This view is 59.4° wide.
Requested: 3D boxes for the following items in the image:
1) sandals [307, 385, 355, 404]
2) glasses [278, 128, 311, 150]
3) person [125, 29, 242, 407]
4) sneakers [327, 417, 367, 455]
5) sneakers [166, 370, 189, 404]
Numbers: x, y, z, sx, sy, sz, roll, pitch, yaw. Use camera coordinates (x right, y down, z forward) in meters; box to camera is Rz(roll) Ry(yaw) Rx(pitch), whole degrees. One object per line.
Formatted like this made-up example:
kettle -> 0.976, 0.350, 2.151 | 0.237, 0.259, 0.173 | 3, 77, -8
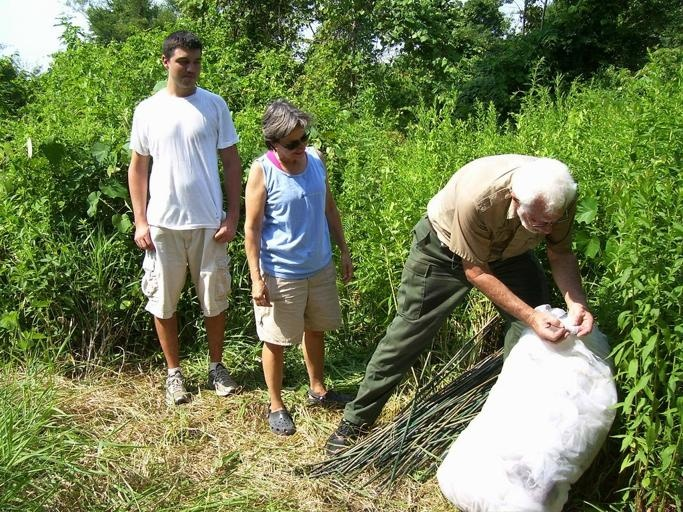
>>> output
sandals -> -0.076, 1.087, 4.719 | 0.341, 0.151, 0.147 | -6, 7, -4
glasses -> -0.325, -0.786, 4.086 | 0.212, 0.142, 0.100 | 2, 7, -15
person -> -1.218, -0.267, 4.656 | 0.845, 2.868, 0.373 | 1, 7, -18
sneakers -> 0.017, 1.284, 4.228 | 0.160, 0.163, 0.407 | -25, 3, 30
sneakers -> -1.299, 1.042, 4.738 | 0.123, 0.154, 0.322 | -1, 8, -21
